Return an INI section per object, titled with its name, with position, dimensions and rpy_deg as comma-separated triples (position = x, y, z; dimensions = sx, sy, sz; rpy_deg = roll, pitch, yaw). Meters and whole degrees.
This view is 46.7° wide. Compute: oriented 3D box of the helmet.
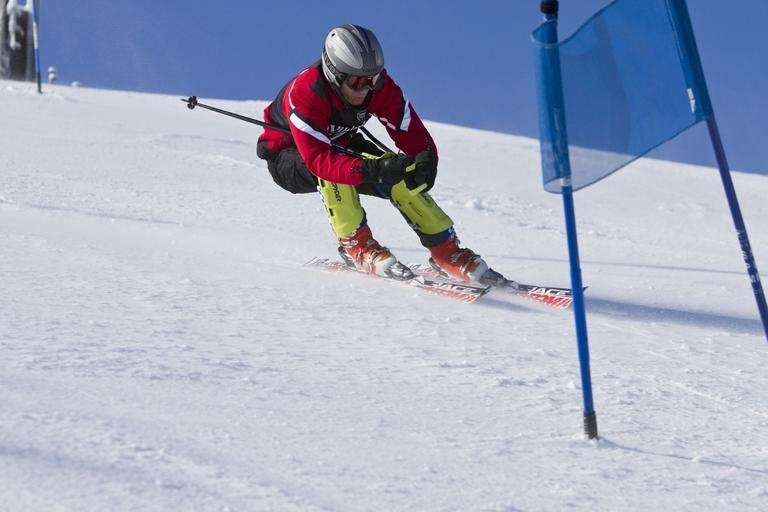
[helmet]
position = -0.241, -1.461, 6.592
dimensions = 0.575, 0.369, 0.457
rpy_deg = 13, 31, 15

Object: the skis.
[skis]
position = 0.393, 0.206, 6.509
dimensions = 1.267, 0.097, 0.307
rpy_deg = 8, 14, 18

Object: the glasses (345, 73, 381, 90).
[glasses]
position = -0.146, -1.274, 6.503
dimensions = 0.159, 0.064, 0.186
rpy_deg = -7, 15, -37

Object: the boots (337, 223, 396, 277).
[boots]
position = -0.109, -0.057, 7.028
dimensions = 0.265, 0.354, 0.674
rpy_deg = -13, 14, -27

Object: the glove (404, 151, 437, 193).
[glove]
position = 0.267, -0.605, 6.407
dimensions = 0.211, 0.313, 0.282
rpy_deg = 10, 12, 0
